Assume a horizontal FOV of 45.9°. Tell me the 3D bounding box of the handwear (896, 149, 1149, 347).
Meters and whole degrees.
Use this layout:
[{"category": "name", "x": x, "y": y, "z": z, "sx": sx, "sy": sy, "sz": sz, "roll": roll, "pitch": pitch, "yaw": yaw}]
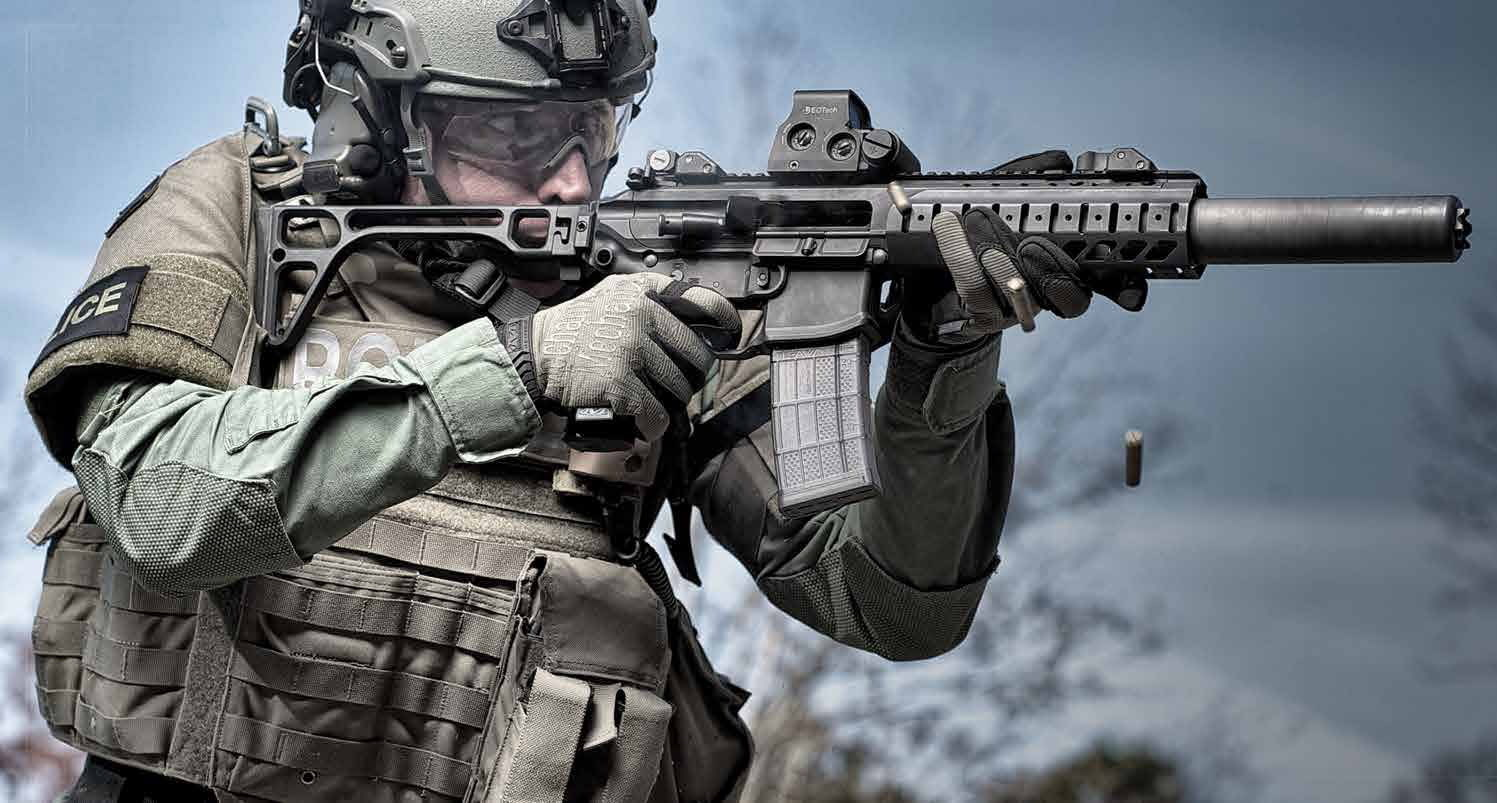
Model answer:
[{"category": "handwear", "x": 0.671, "y": -0.323, "z": 4.261, "sx": 0.521, "sy": 0.517, "sz": 0.185, "roll": 5, "pitch": -6, "yaw": 10}]
